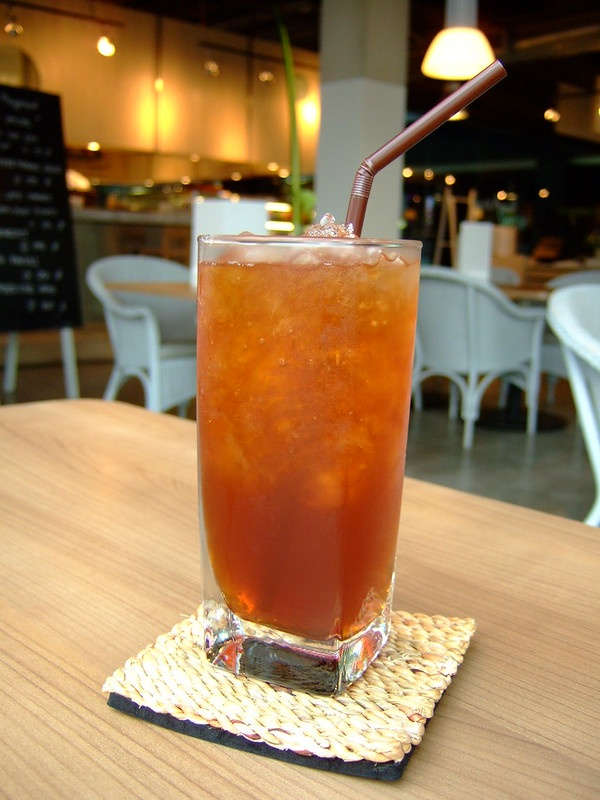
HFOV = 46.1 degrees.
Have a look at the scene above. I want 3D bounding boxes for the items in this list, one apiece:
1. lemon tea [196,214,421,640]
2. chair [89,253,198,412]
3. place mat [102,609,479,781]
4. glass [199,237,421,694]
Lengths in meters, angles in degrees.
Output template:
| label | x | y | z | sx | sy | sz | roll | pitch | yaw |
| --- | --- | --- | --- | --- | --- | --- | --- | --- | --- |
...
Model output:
| label | x | y | z | sx | sy | sz | roll | pitch | yaw |
| --- | --- | --- | --- | --- | --- | --- | --- | --- | --- |
| lemon tea | -0.001 | 0.017 | 0.364 | 0.109 | 0.197 | 0.075 | 3 | 11 | -5 |
| chair | -0.730 | -0.285 | 3.260 | 0.480 | 0.752 | 0.857 | 2 | 11 | -10 |
| place mat | 0.002 | 0.127 | 0.359 | 0.148 | 0.023 | 0.163 | 7 | 11 | 21 |
| glass | 0.016 | 0.035 | 0.406 | 0.152 | 0.234 | 0.138 | 4 | 5 | -2 |
